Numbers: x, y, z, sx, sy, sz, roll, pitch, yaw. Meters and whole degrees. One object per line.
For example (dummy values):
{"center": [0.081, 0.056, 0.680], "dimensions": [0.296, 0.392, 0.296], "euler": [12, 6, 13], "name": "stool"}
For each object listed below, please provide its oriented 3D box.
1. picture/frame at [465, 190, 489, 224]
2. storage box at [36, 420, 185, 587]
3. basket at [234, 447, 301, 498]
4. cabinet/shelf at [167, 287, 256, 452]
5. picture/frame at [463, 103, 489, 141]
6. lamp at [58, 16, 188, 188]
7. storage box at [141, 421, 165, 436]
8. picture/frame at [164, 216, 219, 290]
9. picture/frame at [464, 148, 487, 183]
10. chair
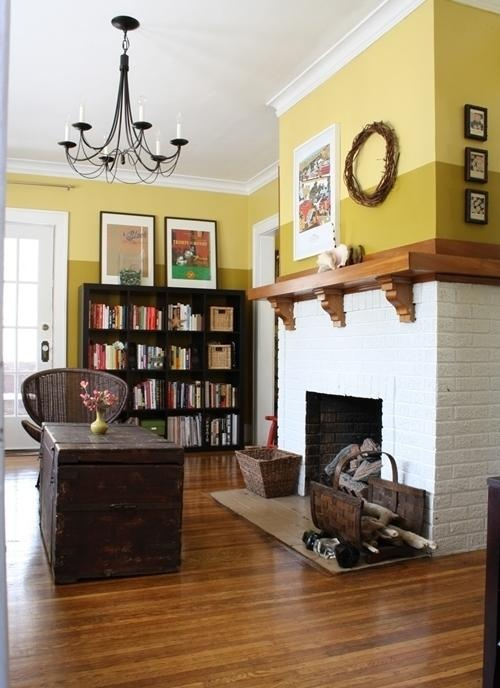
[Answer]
{"center": [1.088, -0.657, 2.741], "dimensions": [0.167, 0.174, 0.018], "euler": [3, -4, -31], "name": "picture/frame"}
{"center": [-0.693, 0.788, 2.785], "dimensions": [0.586, 0.492, 1.000], "euler": [4, -13, -19], "name": "storage box"}
{"center": [0.137, 0.895, 4.015], "dimensions": [0.329, 0.271, 0.457], "euler": [-1, -2, -21], "name": "basket"}
{"center": [-0.410, 0.244, 6.268], "dimensions": [0.791, 1.399, 0.418], "euler": [-4, 3, 26], "name": "cabinet/shelf"}
{"center": [1.089, -1.068, 2.757], "dimensions": [0.206, 0.193, 0.021], "euler": [2, -4, -34], "name": "picture/frame"}
{"center": [-0.882, -1.778, 4.082], "dimensions": [0.913, 0.990, 0.925], "euler": [-4, 14, -22], "name": "lamp"}
{"center": [-0.956, 0.810, 5.665], "dimensions": [0.236, 0.147, 0.231], "euler": [1, -2, -21], "name": "storage box"}
{"center": [-0.664, -0.972, 6.223], "dimensions": [0.810, 1.024, 0.045], "euler": [6, -13, -32], "name": "picture/frame"}
{"center": [1.085, -0.858, 2.746], "dimensions": [0.178, 0.174, 0.019], "euler": [3, -4, -32], "name": "picture/frame"}
{"center": [-1.272, 0.607, 4.123], "dimensions": [0.743, 0.827, 0.586], "euler": [2, 0, -27], "name": "chair"}
